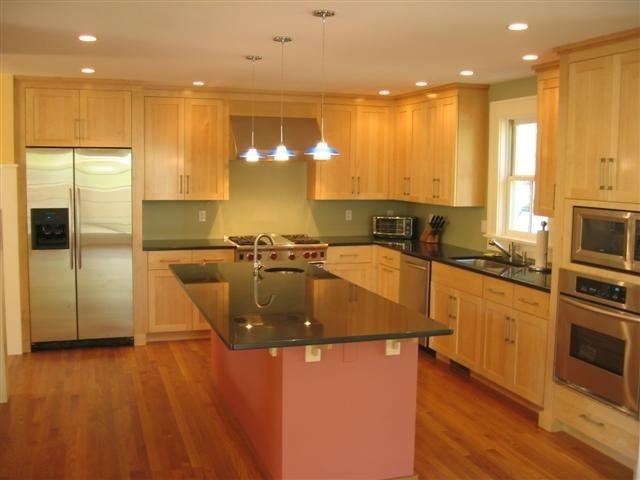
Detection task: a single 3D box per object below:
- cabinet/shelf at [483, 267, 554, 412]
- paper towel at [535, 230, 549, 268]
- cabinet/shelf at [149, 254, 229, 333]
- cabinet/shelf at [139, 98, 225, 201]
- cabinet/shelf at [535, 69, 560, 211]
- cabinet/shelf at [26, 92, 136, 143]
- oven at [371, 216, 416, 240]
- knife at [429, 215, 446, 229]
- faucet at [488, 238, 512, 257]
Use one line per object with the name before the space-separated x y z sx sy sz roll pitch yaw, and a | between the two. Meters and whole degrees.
cabinet/shelf | 1.886 0.847 4.584 0.584 1.010 0.836 -3 8 -22
paper towel | 2.026 0.075 4.710 0.111 0.394 0.106 -11 14 -43
cabinet/shelf | -1.333 0.490 5.045 1.019 0.816 0.362 -2 5 -16
cabinet/shelf | -1.659 -1.104 6.074 1.389 1.397 0.632 -1 4 -17
cabinet/shelf | 2.000 -0.867 4.597 0.158 1.290 0.451 3 11 13
cabinet/shelf | -2.787 -1.390 5.748 0.383 0.635 1.203 26 24 28
oven | 0.981 -0.169 6.865 0.595 0.293 0.280 2 10 8
knife | 1.454 -0.228 6.443 0.183 0.154 0.042 15 18 23
faucet | 1.897 0.078 5.443 0.260 0.102 0.043 36 24 -39
